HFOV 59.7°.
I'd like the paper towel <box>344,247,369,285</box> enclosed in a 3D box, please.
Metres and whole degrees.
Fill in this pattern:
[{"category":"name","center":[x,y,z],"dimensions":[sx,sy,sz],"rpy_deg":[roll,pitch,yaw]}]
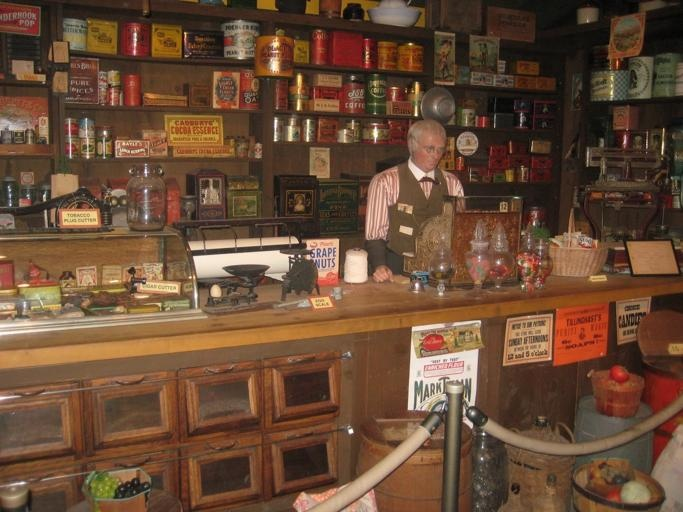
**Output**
[{"category":"paper towel","center":[0.072,0.051,3.153],"dimensions":[0.142,0.182,0.138],"rpy_deg":[-7,14,-38]}]

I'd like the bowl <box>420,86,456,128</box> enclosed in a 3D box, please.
[{"category":"bowl","center":[0.774,-1.249,4.922],"dimensions":[0.396,0.368,0.088],"rpy_deg":[-4,17,-25]}]

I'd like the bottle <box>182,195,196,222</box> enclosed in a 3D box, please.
[{"category":"bottle","center":[-1.167,-0.373,4.549],"dimensions":[0.132,0.181,0.074],"rpy_deg":[-2,9,-1]}]

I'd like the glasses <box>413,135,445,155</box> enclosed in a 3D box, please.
[{"category":"glasses","center":[0.558,-0.722,3.894],"dimensions":[0.123,0.058,0.153],"rpy_deg":[0,1,-15]}]

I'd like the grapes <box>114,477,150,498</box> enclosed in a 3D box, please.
[{"category":"grapes","center":[-0.771,0.860,2.202],"dimensions":[0.094,0.039,0.104],"rpy_deg":[-6,-6,-13]}]

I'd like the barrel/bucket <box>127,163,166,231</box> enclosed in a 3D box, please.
[{"category":"barrel/bucket","center":[-0.913,-0.276,2.805],"dimensions":[0.189,0.298,0.186],"rpy_deg":[0,6,0]}]

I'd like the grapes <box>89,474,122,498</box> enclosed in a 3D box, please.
[{"category":"grapes","center":[-0.872,0.845,2.179],"dimensions":[0.099,0.062,0.066],"rpy_deg":[1,9,19]}]

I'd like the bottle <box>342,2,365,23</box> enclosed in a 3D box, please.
[{"category":"bottle","center":[0.097,-1.972,4.859],"dimensions":[0.184,0.131,0.178],"rpy_deg":[0,20,0]}]

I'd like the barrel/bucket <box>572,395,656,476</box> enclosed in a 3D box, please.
[{"category":"barrel/bucket","center":[1.486,1.043,3.200],"dimensions":[0.452,0.438,0.431],"rpy_deg":[-1,0,0]}]

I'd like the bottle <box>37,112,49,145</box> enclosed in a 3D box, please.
[{"category":"bottle","center":[-2.087,-0.896,4.170],"dimensions":[0.087,0.202,0.065],"rpy_deg":[-6,10,-22]}]

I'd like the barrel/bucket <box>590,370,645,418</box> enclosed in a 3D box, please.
[{"category":"barrel/bucket","center":[1.437,0.709,3.146],"dimensions":[0.296,0.231,0.273],"rpy_deg":[-2,5,0]}]

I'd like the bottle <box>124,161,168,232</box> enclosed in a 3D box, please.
[{"category":"bottle","center":[-0.914,-0.283,2.813],"dimensions":[0.201,0.317,0.199],"rpy_deg":[2,8,0]}]

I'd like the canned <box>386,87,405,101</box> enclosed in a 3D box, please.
[{"category":"canned","center":[0.459,-1.397,5.180],"dimensions":[0.138,0.122,0.137],"rpy_deg":[-1,3,-42]}]

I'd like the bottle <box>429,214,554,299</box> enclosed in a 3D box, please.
[{"category":"bottle","center":[0.755,-0.028,3.072],"dimensions":[0.654,0.416,0.372],"rpy_deg":[-1,9,7]}]

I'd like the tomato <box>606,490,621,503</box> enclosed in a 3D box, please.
[{"category":"tomato","center":[1.273,1.122,2.784],"dimensions":[0.056,0.032,0.115],"rpy_deg":[2,9,24]}]
